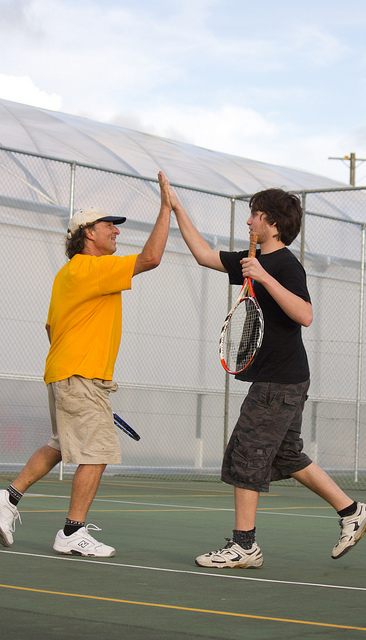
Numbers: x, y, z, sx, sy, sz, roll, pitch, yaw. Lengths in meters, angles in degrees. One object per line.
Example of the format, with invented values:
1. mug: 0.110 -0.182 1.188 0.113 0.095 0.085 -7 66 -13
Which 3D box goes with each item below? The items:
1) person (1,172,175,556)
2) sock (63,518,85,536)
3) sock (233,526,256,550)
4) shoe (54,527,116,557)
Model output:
1. person: -0.530 0.283 3.422 0.895 2.215 0.720 2 5 -1
2. sock: -0.548 1.057 3.229 0.079 0.083 0.090 5 -13 5
3. sock: 0.295 1.047 3.034 0.087 0.067 0.099 2 -2 -1
4. shoe: -0.503 1.130 3.169 0.333 0.139 0.124 0 -5 5
